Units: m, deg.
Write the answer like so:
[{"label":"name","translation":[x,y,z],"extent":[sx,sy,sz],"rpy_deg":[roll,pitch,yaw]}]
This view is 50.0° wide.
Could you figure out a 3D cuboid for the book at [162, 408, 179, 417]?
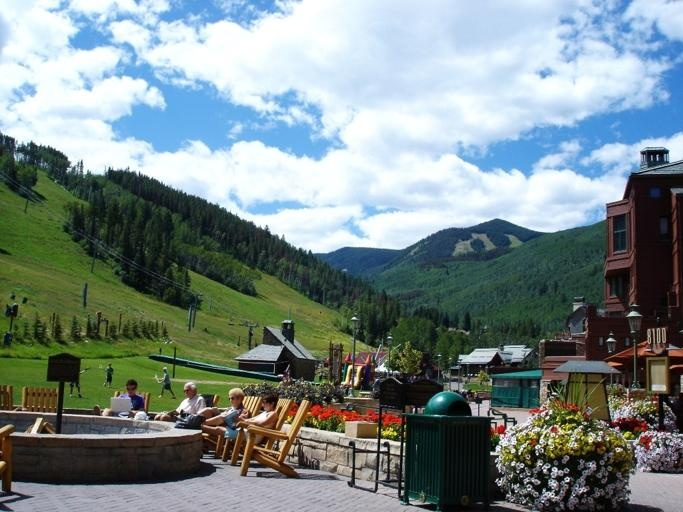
[{"label":"book","translation":[-4.637,4.258,19.848],"extent":[0.402,0.233,0.317],"rpy_deg":[-2,-10,32]}]

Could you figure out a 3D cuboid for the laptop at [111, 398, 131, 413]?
[{"label":"laptop","translation":[-5.970,3.958,20.023],"extent":[0.492,0.383,0.378],"rpy_deg":[2,2,1]}]

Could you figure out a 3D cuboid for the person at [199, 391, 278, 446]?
[{"label":"person","translation":[-2.410,3.974,17.855],"extent":[1.128,1.338,1.664],"rpy_deg":[-11,-18,37]}]

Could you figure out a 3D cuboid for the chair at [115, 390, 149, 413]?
[{"label":"chair","translation":[-5.843,3.910,20.640],"extent":[0.809,0.710,0.481],"rpy_deg":[16,-11,20]}]

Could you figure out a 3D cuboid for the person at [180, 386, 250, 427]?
[{"label":"person","translation":[-3.133,3.799,18.376],"extent":[1.417,0.996,0.910],"rpy_deg":[3,-13,-12]}]

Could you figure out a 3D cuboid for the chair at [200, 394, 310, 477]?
[{"label":"chair","translation":[-1.791,4.239,17.448],"extent":[1.469,1.950,2.409],"rpy_deg":[10,-16,-20]}]

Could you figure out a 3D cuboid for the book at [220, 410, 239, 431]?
[{"label":"book","translation":[-2.695,3.982,17.800],"extent":[0.323,0.552,0.228],"rpy_deg":[25,2,-19]}]

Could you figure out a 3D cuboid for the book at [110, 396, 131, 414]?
[{"label":"book","translation":[-5.958,4.044,19.936],"extent":[0.528,0.413,0.395],"rpy_deg":[1,0,1]}]
